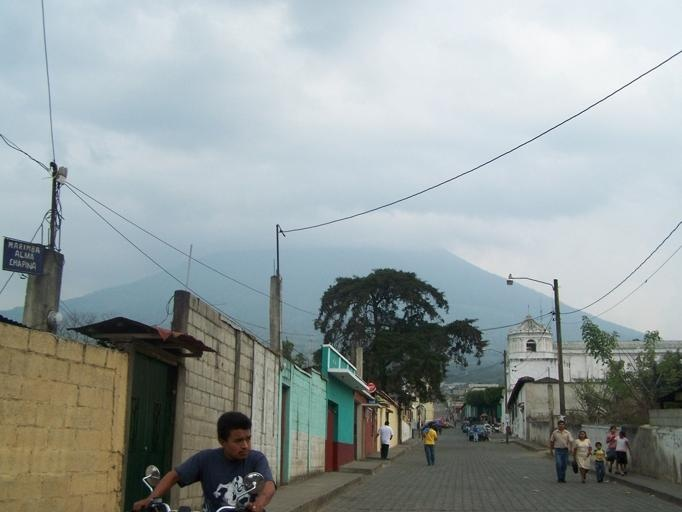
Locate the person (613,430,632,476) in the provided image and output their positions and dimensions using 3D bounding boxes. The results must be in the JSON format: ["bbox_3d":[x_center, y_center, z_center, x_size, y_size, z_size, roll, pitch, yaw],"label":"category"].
[{"bbox_3d":[8.882,6.174,22.621,0.455,1.399,1.671,-6,-19,19],"label":"person"}]

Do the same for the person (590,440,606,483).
[{"bbox_3d":[7.633,6.059,21.095,0.253,1.133,0.885,-5,-17,16],"label":"person"}]
